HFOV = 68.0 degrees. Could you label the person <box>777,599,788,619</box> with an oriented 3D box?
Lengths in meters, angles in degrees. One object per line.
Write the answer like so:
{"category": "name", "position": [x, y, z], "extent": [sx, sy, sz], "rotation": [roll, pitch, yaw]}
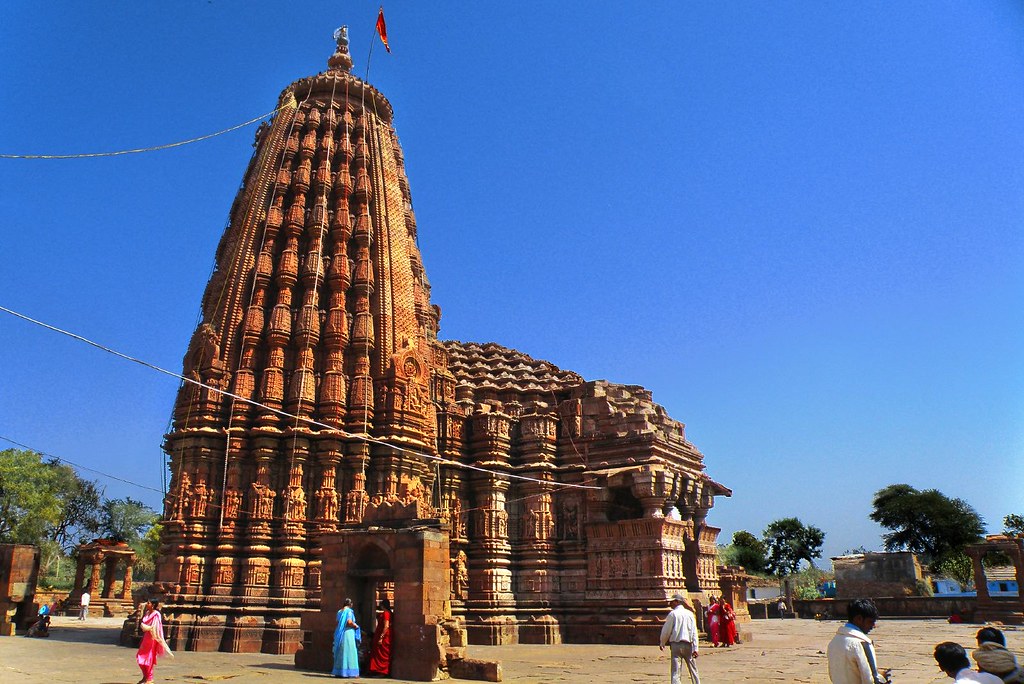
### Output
{"category": "person", "position": [15.070, 14.799, 42.169], "extent": [0.560, 0.727, 0.937], "rotation": [-10, -6, 14]}

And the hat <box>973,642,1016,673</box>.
{"category": "hat", "position": [7.417, 4.854, 11.654], "extent": [0.558, 0.400, 0.482], "rotation": [-10, -6, 24]}

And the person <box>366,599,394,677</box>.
{"category": "person", "position": [-3.318, 7.482, 19.130], "extent": [0.843, 1.775, 0.408], "rotation": [-9, -6, -4]}

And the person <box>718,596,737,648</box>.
{"category": "person", "position": [7.236, 9.575, 25.594], "extent": [0.502, 1.074, 1.458], "rotation": [-11, -6, 16]}
